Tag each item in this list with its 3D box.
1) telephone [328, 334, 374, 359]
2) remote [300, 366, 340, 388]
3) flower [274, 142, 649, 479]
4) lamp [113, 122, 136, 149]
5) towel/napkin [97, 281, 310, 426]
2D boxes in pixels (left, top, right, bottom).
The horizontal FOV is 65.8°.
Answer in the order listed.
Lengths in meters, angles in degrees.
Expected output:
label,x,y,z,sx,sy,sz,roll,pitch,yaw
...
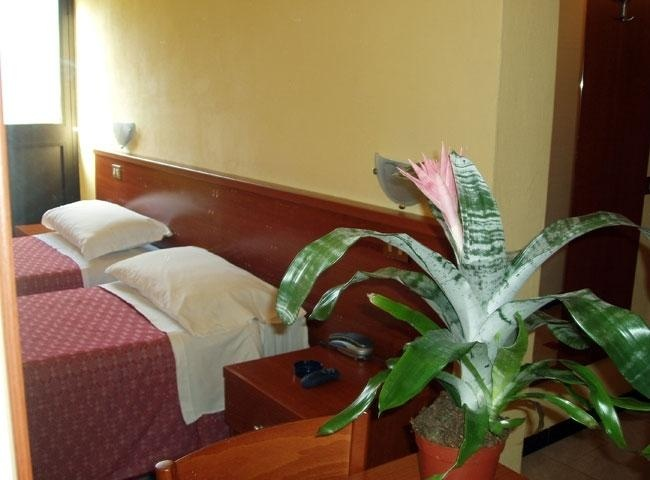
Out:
label,x,y,z,sx,sy,sz,roll,pitch,yaw
telephone,0.092,0.373,1.846,0.134,0.051,0.076,13,12,43
remote,-0.018,0.440,1.664,0.108,0.030,0.055,-9,14,-38
flower,0.242,0.149,0.862,0.644,0.594,0.398,-3,15,-7
lamp,-0.933,-0.485,2.333,0.096,0.114,0.102,1,15,-15
towel/napkin,-0.371,0.366,2.022,0.524,0.200,0.516,-9,17,-37
